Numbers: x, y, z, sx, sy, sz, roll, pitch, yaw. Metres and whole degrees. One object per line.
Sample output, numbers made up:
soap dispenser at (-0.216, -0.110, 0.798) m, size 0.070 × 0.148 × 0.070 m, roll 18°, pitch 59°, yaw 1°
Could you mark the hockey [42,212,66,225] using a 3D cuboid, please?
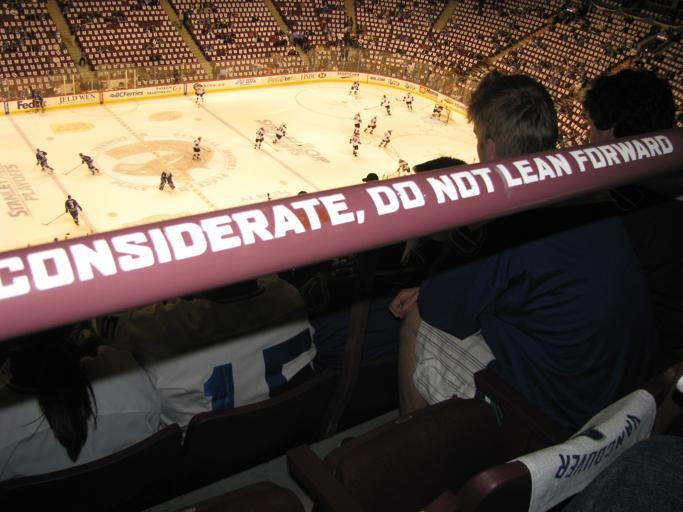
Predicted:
hockey at (-6.903, -0.862, 11.956) m, size 0.688 × 0.103 × 0.099 m, roll -21°, pitch -16°, yaw -11°
